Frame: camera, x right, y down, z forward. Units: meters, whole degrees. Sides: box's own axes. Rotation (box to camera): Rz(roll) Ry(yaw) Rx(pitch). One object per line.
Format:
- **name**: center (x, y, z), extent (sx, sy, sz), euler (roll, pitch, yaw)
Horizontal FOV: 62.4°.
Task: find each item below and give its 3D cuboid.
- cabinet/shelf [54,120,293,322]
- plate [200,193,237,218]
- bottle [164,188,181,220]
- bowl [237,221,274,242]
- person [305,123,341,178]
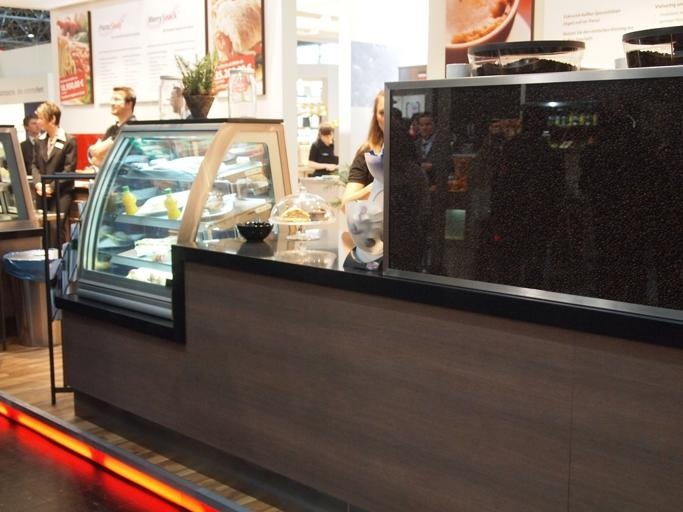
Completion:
- **cabinet/shelf**: center (-0.957, -0.227, 3.552), extent (1.492, 1.182, 1.143), euler (4, 7, 34)
- **plate**: center (-0.630, -0.273, 2.894), extent (0.028, 0.125, 0.263), euler (4, 12, 22)
- **bottle**: center (-0.891, -0.276, 2.963), extent (0.037, 0.152, 0.140), euler (-10, 15, -34)
- **bowl**: center (-0.429, -0.130, 2.853), extent (0.147, 0.085, 0.189), euler (5, 13, 26)
- **person**: center (-0.320, -1.794, 9.594), extent (0.511, 0.847, 0.652), euler (-1, 12, -3)
